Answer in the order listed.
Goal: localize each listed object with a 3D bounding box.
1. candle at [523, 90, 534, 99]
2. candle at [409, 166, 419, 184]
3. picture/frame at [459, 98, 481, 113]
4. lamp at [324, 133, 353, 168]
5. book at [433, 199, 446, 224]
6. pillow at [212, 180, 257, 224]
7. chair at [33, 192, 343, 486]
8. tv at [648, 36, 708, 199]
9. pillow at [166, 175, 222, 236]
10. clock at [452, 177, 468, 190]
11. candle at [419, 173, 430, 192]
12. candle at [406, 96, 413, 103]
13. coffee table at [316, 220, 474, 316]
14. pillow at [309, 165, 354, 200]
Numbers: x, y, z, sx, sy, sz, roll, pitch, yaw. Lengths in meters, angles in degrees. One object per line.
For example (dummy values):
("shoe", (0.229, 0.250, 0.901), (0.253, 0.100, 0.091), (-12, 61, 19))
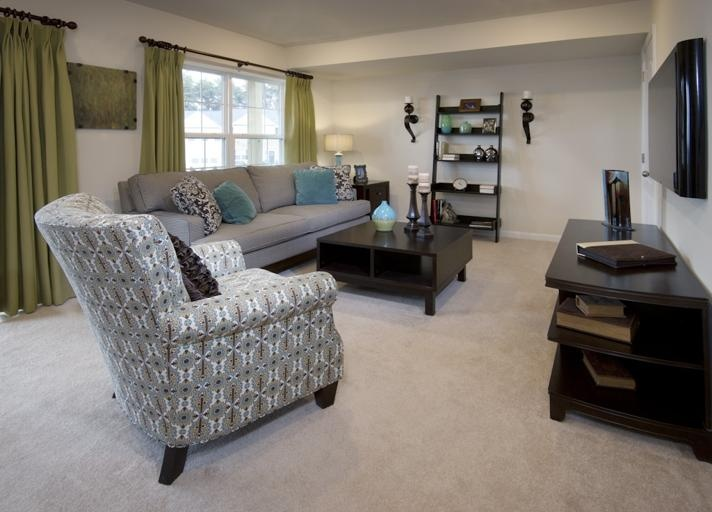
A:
("candle", (2.093, -1.940, 6.238), (0.123, 0.151, 0.132), (3, 13, 12))
("candle", (0.516, -0.712, 4.550), (0.091, 0.167, 0.186), (0, 16, 3))
("picture/frame", (1.494, -1.951, 6.658), (0.264, 0.172, 0.205), (2, 16, 11))
("lamp", (-0.233, -1.541, 7.513), (0.431, 0.462, 0.598), (-2, 16, -4))
("book", (1.142, -0.601, 6.920), (0.243, 0.378, 0.265), (1, 5, 17))
("pillow", (-1.181, -0.526, 5.072), (0.314, 0.389, 0.603), (-7, 14, -3))
("chair", (-0.868, 0.261, 2.970), (1.189, 1.337, 1.432), (10, 17, 31))
("tv", (1.926, -0.815, 3.057), (0.122, 0.746, 1.229), (-1, 20, 19))
("pillow", (-1.373, -0.435, 4.541), (0.143, 0.492, 0.501), (-25, 9, 22))
("clock", (1.411, -0.955, 6.853), (0.186, 0.142, 0.184), (0, 16, 5))
("candle", (0.608, -0.641, 4.495), (0.144, 0.181, 0.154), (-1, 8, 4))
("candle", (0.722, -2.058, 6.799), (0.086, 0.071, 0.090), (3, 5, 36))
("coffee table", (0.432, 0.087, 4.807), (1.188, 0.570, 1.254), (6, 13, 35))
("pillow", (-0.289, -0.852, 6.065), (0.405, 0.437, 0.151), (-5, -7, -21))
